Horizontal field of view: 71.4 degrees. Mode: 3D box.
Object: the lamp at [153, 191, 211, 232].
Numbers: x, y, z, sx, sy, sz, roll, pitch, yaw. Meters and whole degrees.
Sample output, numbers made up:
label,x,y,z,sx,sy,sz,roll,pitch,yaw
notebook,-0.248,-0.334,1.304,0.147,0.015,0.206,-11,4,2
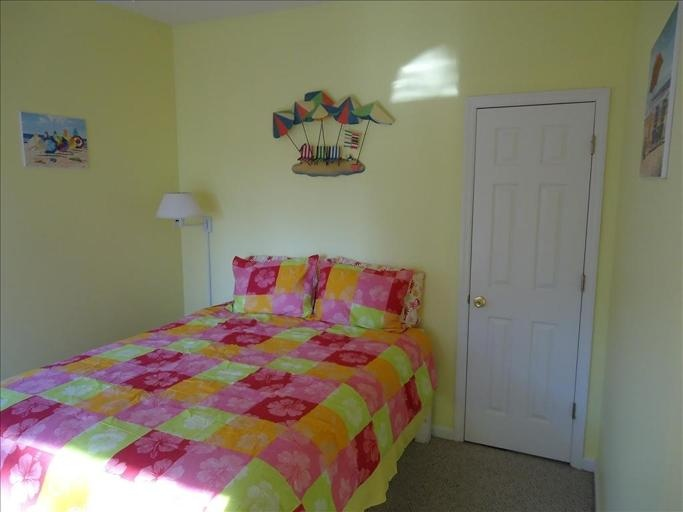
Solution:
label,x,y,z,sx,sy,sz,roll,pitch,yaw
lamp,-1.198,-0.341,3.655,0.288,0.319,0.367,5,8,29
